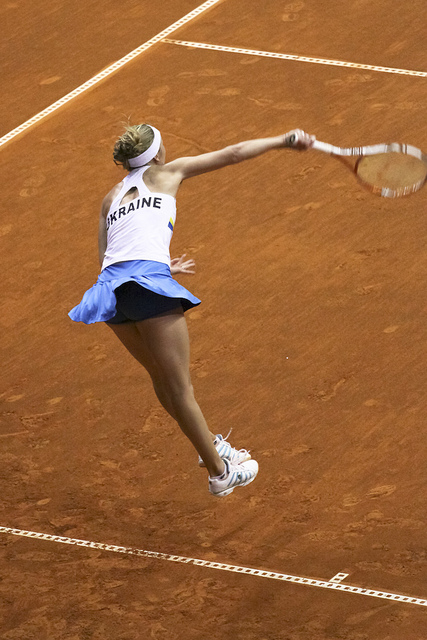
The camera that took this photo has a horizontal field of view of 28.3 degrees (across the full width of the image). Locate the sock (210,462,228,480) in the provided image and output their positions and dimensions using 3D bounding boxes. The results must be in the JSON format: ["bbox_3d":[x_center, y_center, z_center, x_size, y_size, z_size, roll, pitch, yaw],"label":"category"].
[{"bbox_3d":[0.028,0.766,4.332,0.042,0.044,0.104,5,44,20],"label":"sock"}]

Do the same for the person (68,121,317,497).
[{"bbox_3d":[-0.126,-0.025,4.325,0.926,1.962,0.641,-36,29,-30],"label":"person"}]

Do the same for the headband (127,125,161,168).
[{"bbox_3d":[-0.303,-0.849,4.120,0.177,0.184,0.181,-14,22,-32],"label":"headband"}]

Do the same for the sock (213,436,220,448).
[{"bbox_3d":[0.014,0.640,4.494,0.023,0.063,0.071,-14,22,15],"label":"sock"}]
